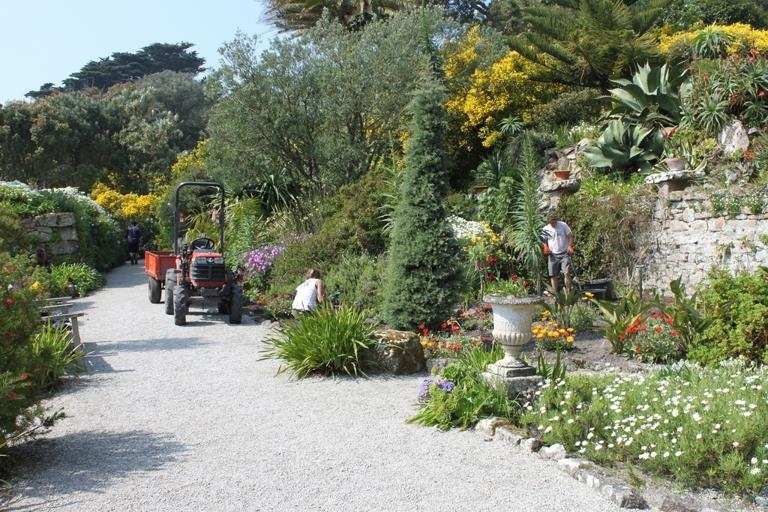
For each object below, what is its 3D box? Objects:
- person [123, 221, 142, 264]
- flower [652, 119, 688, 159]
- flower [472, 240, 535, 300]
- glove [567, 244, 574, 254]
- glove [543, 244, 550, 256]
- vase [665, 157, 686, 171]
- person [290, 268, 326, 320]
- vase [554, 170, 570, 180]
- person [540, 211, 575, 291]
[{"bbox_3d":[-9.465,-0.553,26.577,0.422,1.669,1.466,2,-4,-23],"label":"person"},{"bbox_3d":[6.433,-2.583,15.555,0.680,0.772,0.698,1,-10,-3],"label":"flower"},{"bbox_3d":[2.525,0.148,14.838,1.229,1.257,1.297,5,-7,-14],"label":"flower"},{"bbox_3d":[3.806,-0.159,14.362,0.111,0.112,0.256,8,-4,10],"label":"glove"},{"bbox_3d":[3.380,-0.135,14.586,0.124,0.088,0.230,6,-43,29],"label":"glove"},{"bbox_3d":[6.130,-1.949,14.759,0.329,0.230,0.348,-3,-4,22],"label":"vase"},{"bbox_3d":[-1.356,0.634,12.577,0.533,0.879,0.842,1,-4,-8],"label":"person"},{"bbox_3d":[4.250,-1.951,16.631,0.244,0.134,0.254,-5,13,-20],"label":"vase"},{"bbox_3d":[3.563,-0.117,14.509,0.626,1.628,0.767,0,-3,15],"label":"person"}]
